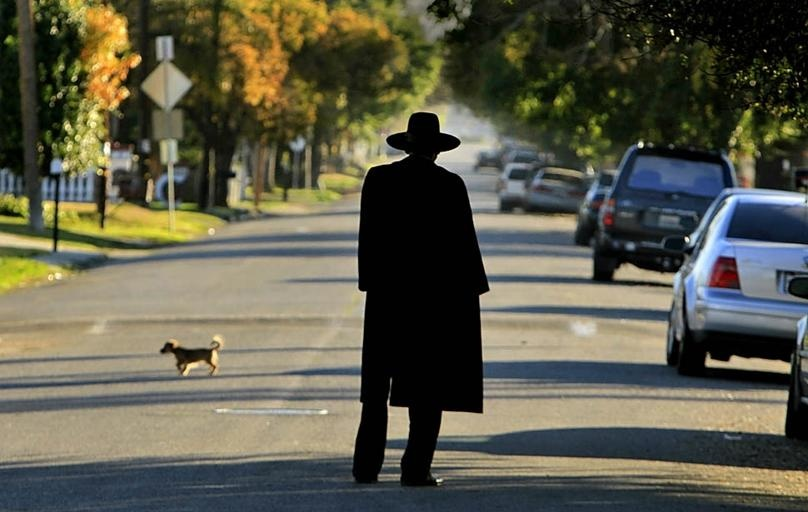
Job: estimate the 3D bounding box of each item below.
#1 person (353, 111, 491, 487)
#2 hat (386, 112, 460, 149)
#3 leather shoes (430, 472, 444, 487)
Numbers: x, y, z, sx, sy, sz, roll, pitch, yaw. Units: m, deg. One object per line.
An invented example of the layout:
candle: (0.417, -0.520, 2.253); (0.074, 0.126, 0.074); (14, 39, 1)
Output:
person: (0.160, 0.457, 15.808); (1.274, 3.760, 0.511); (3, 6, -3)
hat: (0.205, -1.283, 15.910); (0.786, 0.287, 0.594); (6, -3, -39)
leather shoes: (0.331, 2.276, 15.946); (0.069, 0.076, 0.186); (3, 4, 10)
